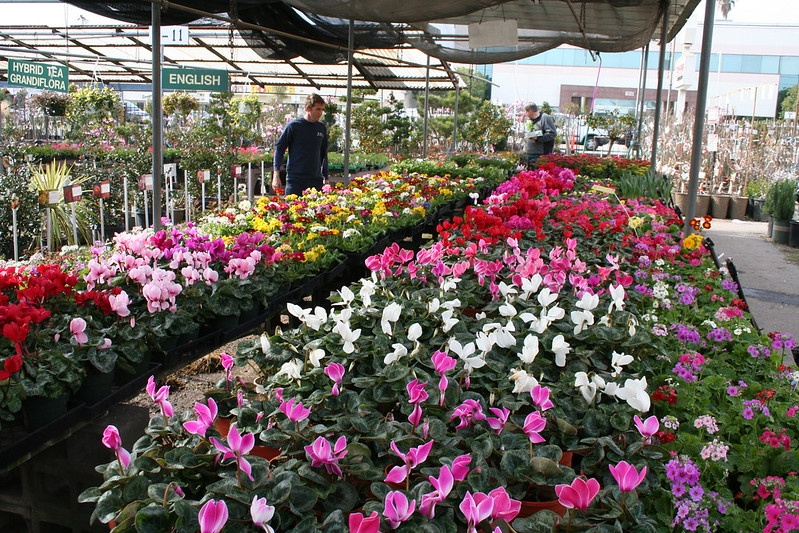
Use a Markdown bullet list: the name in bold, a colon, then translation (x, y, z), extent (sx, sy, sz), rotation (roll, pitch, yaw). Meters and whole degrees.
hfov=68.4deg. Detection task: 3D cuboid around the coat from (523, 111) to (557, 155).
- **coat**: translation (2.951, -2.793, 12.342), extent (0.537, 0.874, 1.024), rotation (-2, 15, -6)
